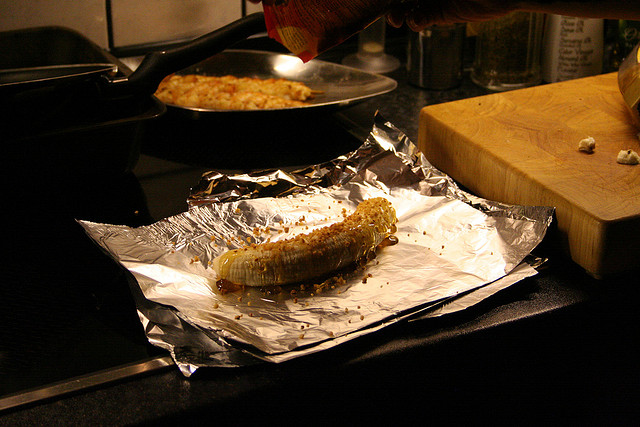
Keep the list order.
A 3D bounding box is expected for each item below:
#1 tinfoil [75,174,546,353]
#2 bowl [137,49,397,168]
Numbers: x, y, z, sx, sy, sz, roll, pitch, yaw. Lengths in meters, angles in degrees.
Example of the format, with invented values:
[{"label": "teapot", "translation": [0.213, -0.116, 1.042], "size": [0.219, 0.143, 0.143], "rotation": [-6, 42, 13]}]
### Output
[{"label": "tinfoil", "translation": [0.027, 0.078, 0.786], "size": [0.422, 0.048, 0.306], "rotation": [-15, 32, -25]}, {"label": "bowl", "translation": [-0.095, -0.234, 1.159], "size": [0.505, 0.115, 0.419], "rotation": [-1, 32, 6]}]
